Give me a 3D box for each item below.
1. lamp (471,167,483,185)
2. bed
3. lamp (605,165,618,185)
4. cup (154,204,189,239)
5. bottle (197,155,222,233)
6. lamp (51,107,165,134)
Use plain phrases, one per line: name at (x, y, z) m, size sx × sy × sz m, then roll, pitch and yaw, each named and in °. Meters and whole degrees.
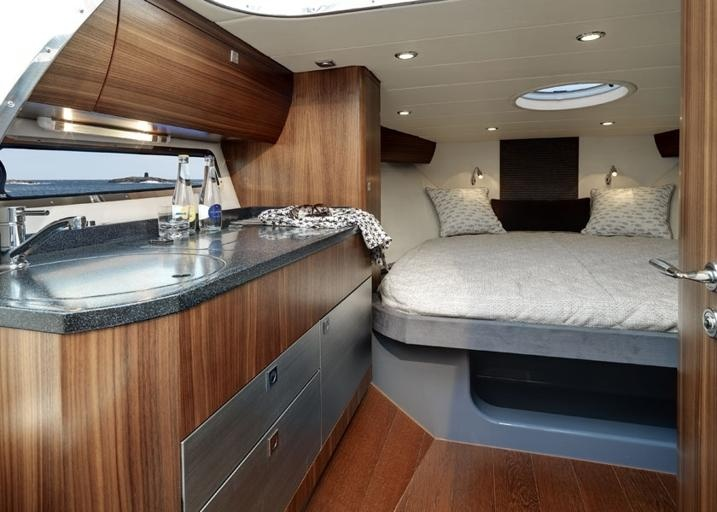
lamp at (1.366, -0.924, 5.261) m, size 0.133 × 0.197 × 0.041 m, roll 1°, pitch 14°, yaw 14°
bed at (1.022, 0.483, 3.064) m, size 1.729 × 0.859 × 1.466 m, roll 1°, pitch 14°, yaw 16°
lamp at (2.756, -0.876, 4.972) m, size 0.122 × 0.210 × 0.040 m, roll -2°, pitch 14°, yaw 5°
cup at (-0.855, -0.162, 2.115) m, size 0.142 × 0.155 × 0.149 m, roll 0°, pitch 1°, yaw 0°
bottle at (-0.785, -0.333, 2.411) m, size 0.109 × 0.382 × 0.181 m, roll -2°, pitch 14°, yaw 4°
lamp at (-1.049, -0.597, 2.028) m, size 0.179 × 0.082 × 0.580 m, roll 3°, pitch 15°, yaw 23°
